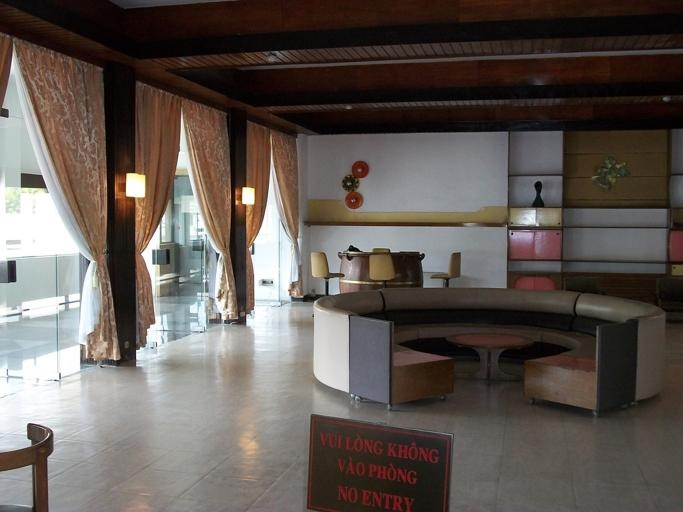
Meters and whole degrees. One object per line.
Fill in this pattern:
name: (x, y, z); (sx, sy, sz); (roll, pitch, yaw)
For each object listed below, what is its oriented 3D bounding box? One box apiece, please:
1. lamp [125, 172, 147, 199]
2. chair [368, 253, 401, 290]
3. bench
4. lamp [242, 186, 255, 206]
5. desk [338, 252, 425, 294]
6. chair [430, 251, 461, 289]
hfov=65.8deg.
lamp: (-2.482, -0.834, 6.379); (0.196, 0.287, 0.367); (-1, 2, -4)
chair: (0.712, 0.237, 8.691); (0.497, 0.689, 0.485); (0, -1, 6)
bench: (1.514, 0.911, 5.589); (3.420, 0.947, 1.929); (0, 2, 2)
lamp: (-1.564, -0.993, 8.755); (0.142, 0.326, 0.395); (-1, 0, 20)
desk: (0.635, 0.270, 8.813); (0.978, 0.639, 0.916); (0, -4, -5)
chair: (1.959, 0.370, 9.959); (0.562, 0.806, 0.588); (-4, 0, -39)
